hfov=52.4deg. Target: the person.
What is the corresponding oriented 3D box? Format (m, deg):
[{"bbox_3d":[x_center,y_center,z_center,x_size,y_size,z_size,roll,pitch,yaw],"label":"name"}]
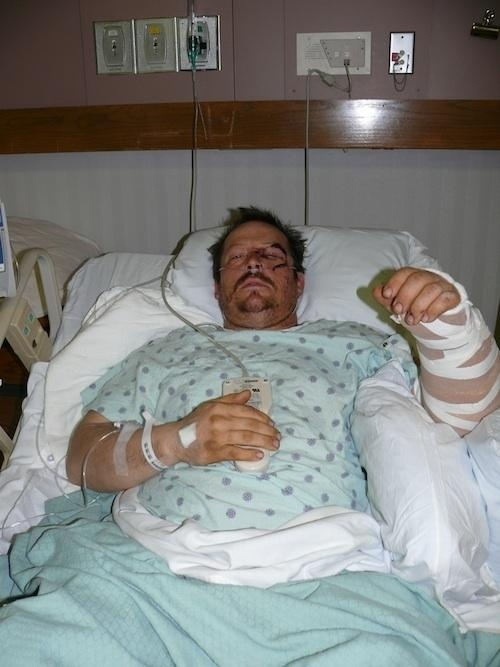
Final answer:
[{"bbox_3d":[-0.028,0.083,1.295,0.664,0.299,0.749,-2,31,1],"label":"person"}]
